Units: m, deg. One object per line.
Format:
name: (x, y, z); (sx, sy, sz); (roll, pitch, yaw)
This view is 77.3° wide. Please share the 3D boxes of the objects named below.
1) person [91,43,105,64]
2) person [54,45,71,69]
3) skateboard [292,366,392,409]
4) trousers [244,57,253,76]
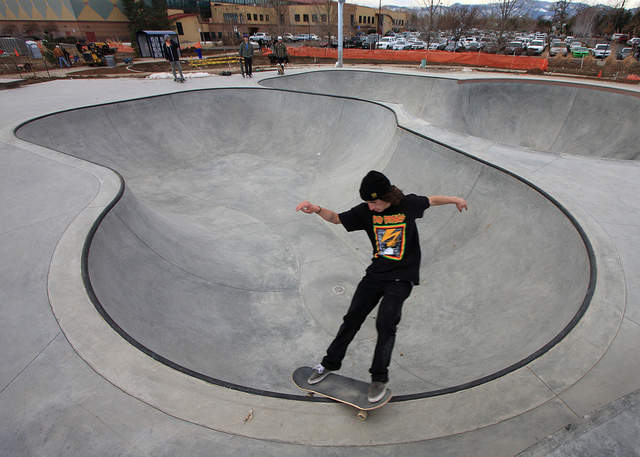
person: (-15.385, -11.966, 27.685); (0.481, 1.161, 1.052); (-12, 36, -15)
person: (-17.174, -11.257, 26.544); (0.693, 1.066, 1.206); (-21, 39, -26)
skateboard: (0.212, 1.868, 4.683); (1.134, 0.154, 0.400); (8, 25, 29)
trousers: (-3.551, -7.870, 19.466); (0.259, 0.837, 0.679); (-18, 38, -22)
